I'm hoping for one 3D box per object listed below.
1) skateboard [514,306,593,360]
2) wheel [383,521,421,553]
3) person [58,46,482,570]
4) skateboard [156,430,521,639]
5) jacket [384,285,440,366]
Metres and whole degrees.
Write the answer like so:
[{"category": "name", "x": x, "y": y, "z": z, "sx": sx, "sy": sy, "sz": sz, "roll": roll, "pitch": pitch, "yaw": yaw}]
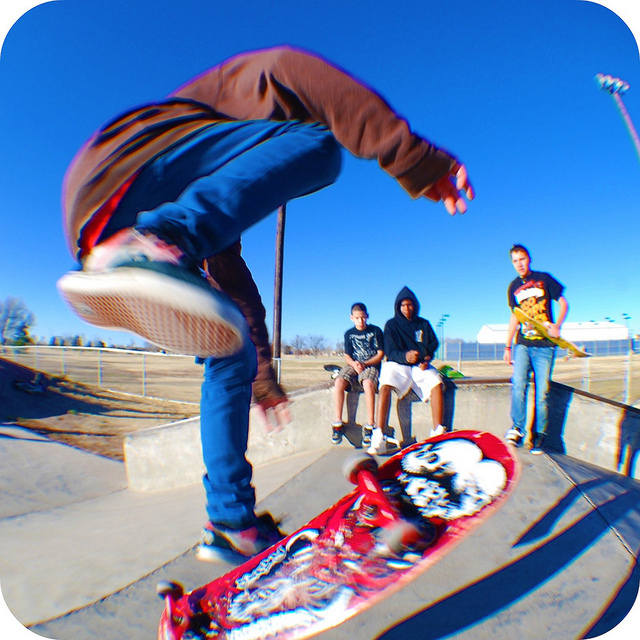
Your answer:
[{"category": "skateboard", "x": 1.907, "y": 0.081, "z": 3.688, "sx": 0.395, "sy": 0.479, "sz": 0.647, "roll": 1, "pitch": -5, "yaw": -42}, {"category": "wheel", "x": 0.250, "y": 0.653, "z": 1.338, "sx": 0.069, "sy": 0.102, "sz": 0.093, "roll": 12, "pitch": -6, "yaw": -13}, {"category": "person", "x": -0.201, "y": -0.029, "z": 1.315, "sx": 0.985, "sy": 1.629, "sz": 0.614, "roll": 0, "pitch": -2, "yaw": -33}, {"category": "skateboard", "x": 0.075, "y": 0.738, "z": 1.529, "sx": 0.981, "sy": 0.164, "sz": 0.255, "roll": -29, "pitch": 29, "yaw": -17}, {"category": "jacket", "x": 0.861, "y": 0.059, "z": 4.243, "sx": 0.483, "sy": 0.866, "sz": 0.490, "roll": -1, "pitch": -11, "yaw": 0}]
